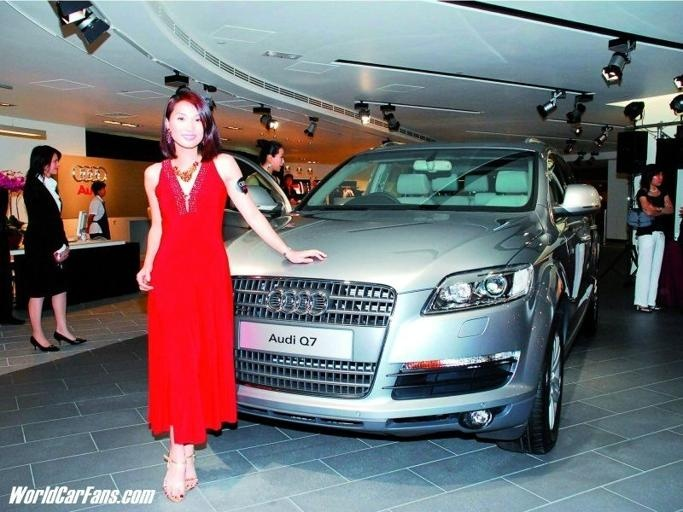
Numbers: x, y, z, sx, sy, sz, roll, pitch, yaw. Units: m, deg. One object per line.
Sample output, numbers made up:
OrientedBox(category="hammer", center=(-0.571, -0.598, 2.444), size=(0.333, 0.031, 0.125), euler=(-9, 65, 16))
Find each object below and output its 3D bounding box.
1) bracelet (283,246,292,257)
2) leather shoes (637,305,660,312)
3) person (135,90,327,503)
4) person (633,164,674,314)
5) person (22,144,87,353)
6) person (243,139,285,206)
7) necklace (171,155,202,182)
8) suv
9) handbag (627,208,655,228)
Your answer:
OrientedBox(category="bracelet", center=(-0.274, -0.026, 2.265), size=(0.051, 0.044, 0.019), euler=(-5, -17, 19))
OrientedBox(category="leather shoes", center=(4.891, 0.817, 6.914), size=(0.430, 0.082, 0.239), euler=(-1, 3, 0))
OrientedBox(category="person", center=(-0.663, 0.186, 2.248), size=(0.689, 2.033, 0.282), euler=(-3, 5, -14))
OrientedBox(category="person", center=(4.982, -0.319, 7.025), size=(0.505, 2.336, 0.833), euler=(1, 6, 33))
OrientedBox(category="person", center=(-3.431, -0.079, 5.134), size=(0.555, 2.378, 0.444), euler=(-3, 5, -10))
OrientedBox(category="person", center=(-0.929, -1.143, 5.611), size=(0.522, 0.658, 0.799), euler=(9, 22, 0))
OrientedBox(category="necklace", center=(-0.751, -0.427, 2.144), size=(0.194, 0.138, 0.028), euler=(-1, -22, -11))
OrientedBox(category="suv", center=(0.812, 0.090, 3.224), size=(1.910, 1.006, 2.843), euler=(0, 1, 27))
OrientedBox(category="handbag", center=(4.803, -0.615, 7.005), size=(0.424, 0.312, 0.227), euler=(2, 3, 38))
